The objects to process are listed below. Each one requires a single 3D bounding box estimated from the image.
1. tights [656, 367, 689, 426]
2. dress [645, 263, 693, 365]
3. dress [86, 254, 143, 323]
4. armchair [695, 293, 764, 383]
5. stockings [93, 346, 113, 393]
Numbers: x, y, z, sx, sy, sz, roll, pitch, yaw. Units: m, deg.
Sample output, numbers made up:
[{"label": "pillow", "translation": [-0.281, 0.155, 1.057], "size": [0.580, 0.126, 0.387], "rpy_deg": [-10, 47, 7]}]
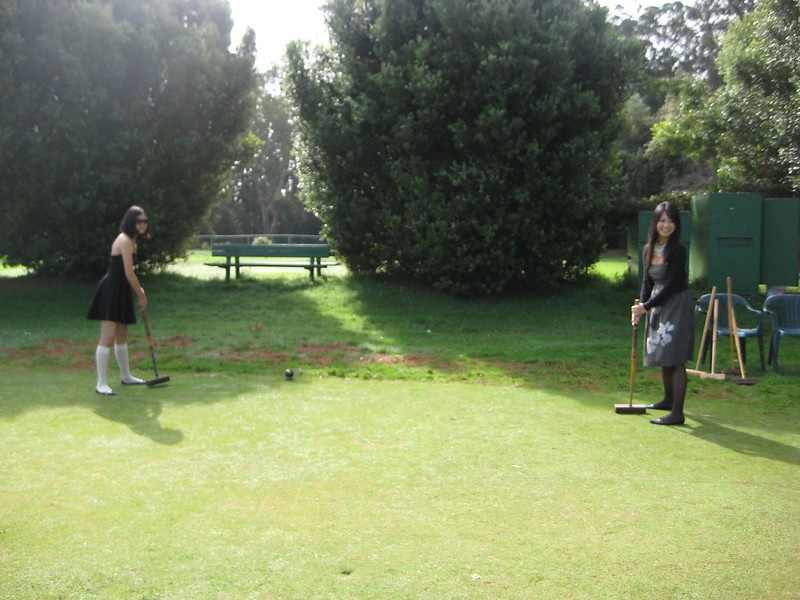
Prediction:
[{"label": "tights", "translation": [3.445, 1.164, 9.982], "size": [0.258, 0.694, 0.375], "rpy_deg": [6, 11, 31]}, {"label": "dress", "translation": [3.422, 0.365, 10.079], "size": [0.572, 1.044, 0.365], "rpy_deg": [3, 10, 17]}, {"label": "dress", "translation": [-3.974, -0.142, 10.966], "size": [0.577, 0.960, 0.396], "rpy_deg": [-4, 10, -21]}, {"label": "armchair", "translation": [5.384, 0.636, 13.012], "size": [1.217, 1.681, 1.198], "rpy_deg": [1, -5, -6]}, {"label": "stockings", "translation": [-4.103, 0.902, 11.046], "size": [0.243, 0.661, 0.609], "rpy_deg": [-4, 11, -23]}]
